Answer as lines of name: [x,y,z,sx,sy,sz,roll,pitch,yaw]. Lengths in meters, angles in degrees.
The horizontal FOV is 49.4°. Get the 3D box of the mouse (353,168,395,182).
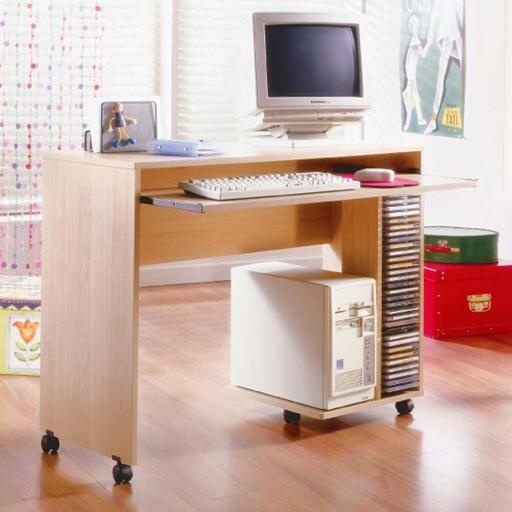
mouse: [0.354,-0.236,1.662,0.091,0.029,0.051,1,7,13]

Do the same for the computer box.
computer box: [0.141,0.259,1.876,0.260,0.401,0.450,-2,4,-44]

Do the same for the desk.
desk: [-0.117,0.147,1.755,0.451,0.774,0.944,6,4,40]

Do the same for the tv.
tv: [0.165,-0.625,1.968,0.456,0.370,0.457,1,10,16]
